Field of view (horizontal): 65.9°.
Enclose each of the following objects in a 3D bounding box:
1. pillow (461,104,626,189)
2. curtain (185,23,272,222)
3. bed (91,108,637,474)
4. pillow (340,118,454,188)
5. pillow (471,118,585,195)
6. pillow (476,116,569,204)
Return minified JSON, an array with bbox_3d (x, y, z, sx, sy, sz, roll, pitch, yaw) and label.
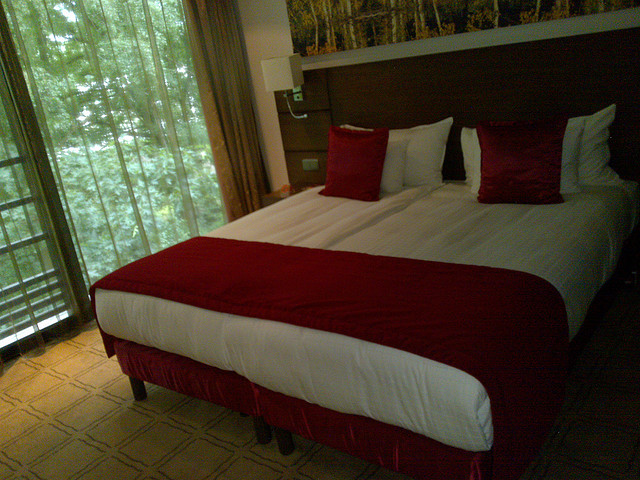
[{"bbox_3d":[1.616,-0.590,3.698,1.066,0.587,0.310,5,37,46],"label":"pillow"},{"bbox_3d":[-0.865,-1.174,5.051,0.415,1.551,0.071,-12,10,30],"label":"curtain"},{"bbox_3d":[0.439,0.143,3.088,2.234,1.427,2.502,12,28,39],"label":"bed"},{"bbox_3d":[0.619,-0.649,3.859,0.698,0.415,0.196,4,0,26],"label":"pillow"},{"bbox_3d":[1.605,-0.540,3.443,0.671,0.533,0.166,0,5,5],"label":"pillow"},{"bbox_3d":[1.327,-0.497,3.207,0.698,0.605,0.237,1,0,26],"label":"pillow"}]
